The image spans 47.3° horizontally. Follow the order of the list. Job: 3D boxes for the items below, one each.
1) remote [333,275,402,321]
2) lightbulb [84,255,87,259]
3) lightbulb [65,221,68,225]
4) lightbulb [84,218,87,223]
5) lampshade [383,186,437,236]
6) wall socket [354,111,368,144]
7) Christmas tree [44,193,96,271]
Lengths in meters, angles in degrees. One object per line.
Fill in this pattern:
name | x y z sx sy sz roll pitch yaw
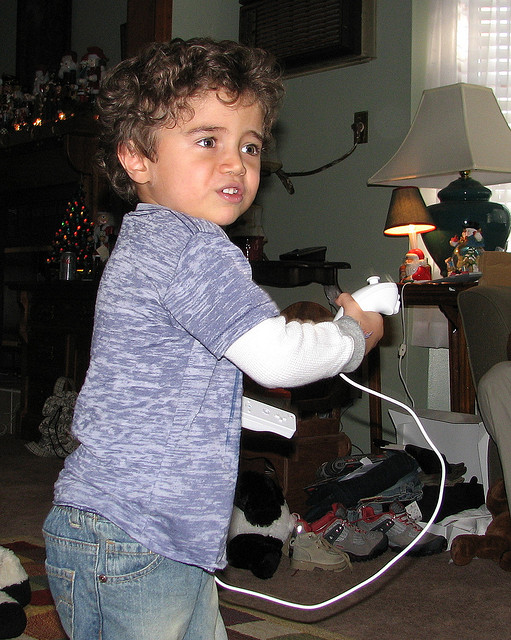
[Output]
remote | 0.151 -0.037 0.788 0.086 0.048 0.119 16 9 -4
lightbulb | -1.106 -0.408 3.791 0.016 0.025 0.010 -1 6 -21
lightbulb | -1.232 -0.633 3.797 0.027 0.027 0.014 -6 -1 -18
lightbulb | -1.103 -0.643 3.770 0.020 0.021 0.013 4 -8 -10
lampshade | 0.620 -0.481 2.464 0.216 0.149 0.225 5 19 37
wall socket | 0.526 -0.962 2.910 0.078 0.158 0.016 7 8 44
Christmas tree | -1.221 -0.573 3.842 0.486 0.505 0.216 5 7 30
